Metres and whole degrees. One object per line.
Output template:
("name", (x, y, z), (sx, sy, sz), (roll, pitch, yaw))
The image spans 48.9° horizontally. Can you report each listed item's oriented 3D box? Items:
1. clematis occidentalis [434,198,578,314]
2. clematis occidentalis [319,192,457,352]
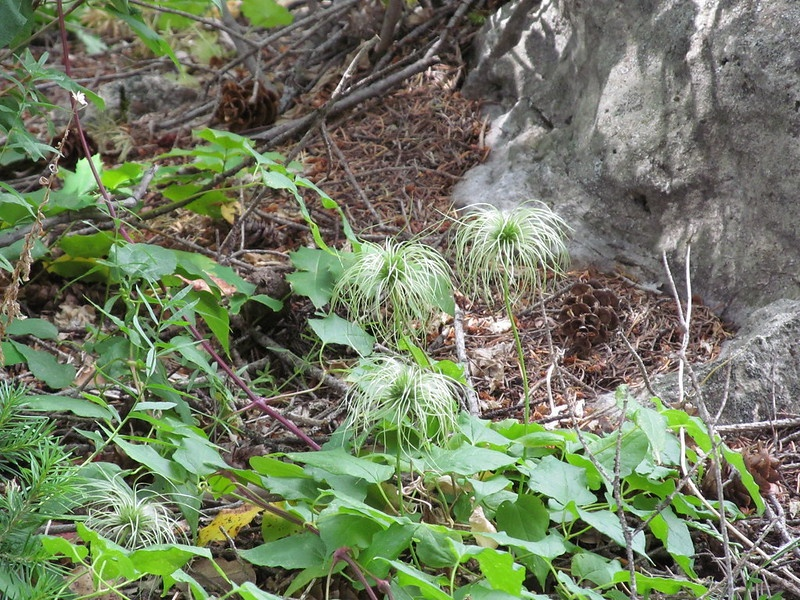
("clematis occidentalis", (0.465, -0.223, 3.878), (0.490, 0.442, 0.298), (4, 77, -18))
("clematis occidentalis", (-0.030, -0.098, 4.088), (0.481, 0.449, 0.311), (-7, 74, -15))
